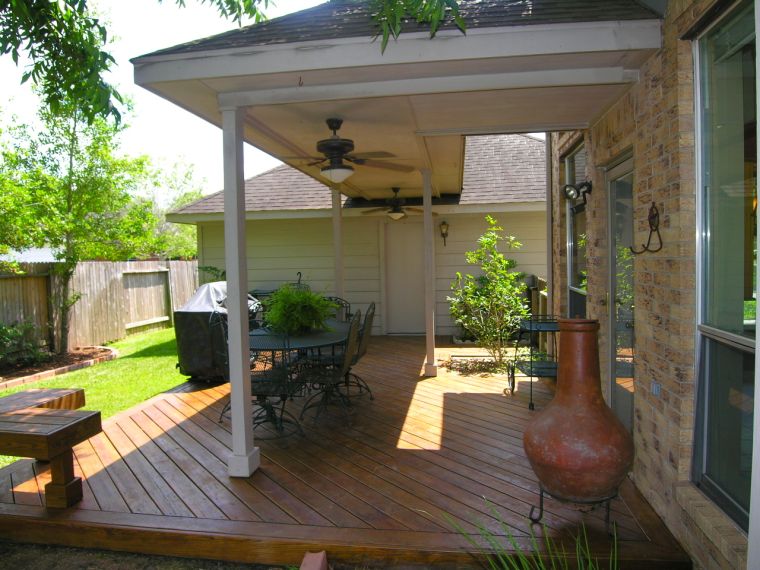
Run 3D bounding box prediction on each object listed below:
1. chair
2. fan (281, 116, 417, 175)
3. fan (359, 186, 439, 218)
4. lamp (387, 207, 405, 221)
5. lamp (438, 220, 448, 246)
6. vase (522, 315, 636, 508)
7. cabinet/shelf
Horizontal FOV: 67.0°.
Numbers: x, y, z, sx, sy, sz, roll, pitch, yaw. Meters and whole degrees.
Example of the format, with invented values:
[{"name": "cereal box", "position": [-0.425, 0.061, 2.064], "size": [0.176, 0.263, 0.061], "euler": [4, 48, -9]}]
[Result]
[{"name": "chair", "position": [-0.912, 1.063, 6.240], "size": [1.226, 1.030, 2.121], "euler": [1, 1, 10]}, {"name": "fan", "position": [-0.404, -1.280, 5.762], "size": [0.760, 0.306, 0.745], "euler": [-4, 7, -41]}, {"name": "fan", "position": [0.224, -1.231, 9.245], "size": [0.790, 0.374, 0.775], "euler": [-1, -6, 12]}, {"name": "lamp", "position": [0.246, -1.155, 9.170], "size": [0.268, 0.151, 0.263], "euler": [0, 0, -1]}, {"name": "lamp", "position": [1.208, -0.986, 10.819], "size": [0.201, 0.496, 0.330], "euler": [-1, 8, 5]}, {"name": "vase", "position": [1.435, 0.853, 4.088], "size": [0.857, 1.162, 0.818], "euler": [-4, 3, -31]}, {"name": "cabinet/shelf", "position": [1.834, 0.861, 6.570], "size": [0.570, 0.911, 1.402], "euler": [-2, -2, 7]}]
